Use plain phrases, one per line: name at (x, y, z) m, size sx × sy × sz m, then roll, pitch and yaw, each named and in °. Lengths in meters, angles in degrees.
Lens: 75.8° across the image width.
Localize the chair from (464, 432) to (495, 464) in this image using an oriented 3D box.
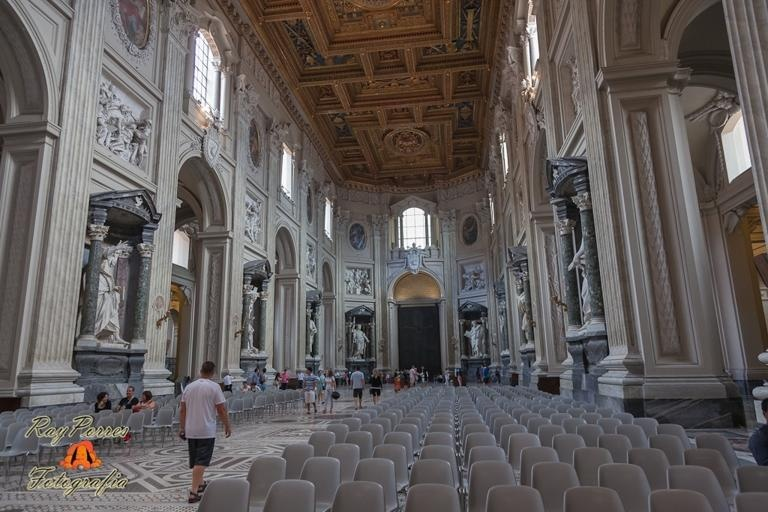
chair at (1.456, 2.875, 7.516) m, size 0.453 × 0.469 × 0.404 m, roll 3°, pitch -21°, yaw -2°

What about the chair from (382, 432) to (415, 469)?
chair at (0.232, 2.982, 7.671) m, size 0.476 × 0.513 × 0.413 m, roll 0°, pitch -17°, yaw 5°

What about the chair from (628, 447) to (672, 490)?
chair at (3.423, 2.682, 6.421) m, size 0.424 × 0.537 × 0.601 m, roll -1°, pitch 19°, yaw 10°

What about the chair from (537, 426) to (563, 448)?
chair at (2.562, 2.742, 7.653) m, size 0.267 × 0.315 × 0.365 m, roll -1°, pitch 4°, yaw 9°

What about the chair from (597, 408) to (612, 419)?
chair at (4.053, 2.891, 9.110) m, size 0.183 × 0.254 × 0.205 m, roll -3°, pitch -41°, yaw 9°

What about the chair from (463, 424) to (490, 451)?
chair at (1.487, 2.868, 8.027) m, size 0.401 × 0.553 × 0.469 m, roll 1°, pitch -40°, yaw 3°

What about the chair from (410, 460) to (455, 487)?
chair at (0.603, 2.729, 6.254) m, size 0.386 × 0.394 × 0.376 m, roll 0°, pitch -15°, yaw 12°

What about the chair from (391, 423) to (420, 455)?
chair at (0.368, 3.082, 8.361) m, size 0.465 × 0.561 × 0.452 m, roll 1°, pitch -18°, yaw 0°

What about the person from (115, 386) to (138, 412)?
person at (-6.452, 3.558, 12.342) m, size 0.496 × 0.744 × 0.433 m, roll -2°, pitch -26°, yaw -3°

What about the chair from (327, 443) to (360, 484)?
chair at (-0.534, 3.008, 7.303) m, size 0.498 × 0.581 × 0.468 m, roll 2°, pitch -15°, yaw 0°

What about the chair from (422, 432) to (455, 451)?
chair at (0.847, 2.829, 7.649) m, size 0.296 × 0.202 × 0.314 m, roll 2°, pitch -16°, yaw 6°

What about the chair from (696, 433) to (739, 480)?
chair at (4.555, 2.733, 6.842) m, size 0.423 × 0.528 × 0.590 m, roll -12°, pitch -11°, yaw 18°

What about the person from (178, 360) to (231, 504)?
person at (-2.721, 2.617, 7.512) m, size 0.712 × 2.008 × 1.084 m, roll -1°, pitch -7°, yaw -21°

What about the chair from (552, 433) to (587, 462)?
chair at (2.633, 2.731, 7.189) m, size 0.391 × 0.429 × 0.500 m, roll -2°, pitch -7°, yaw 10°

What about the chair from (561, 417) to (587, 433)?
chair at (3.122, 2.744, 8.126) m, size 0.243 × 0.270 × 0.328 m, roll -2°, pitch 23°, yaw 7°

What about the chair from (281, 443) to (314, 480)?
chair at (-1.180, 2.952, 7.138) m, size 0.387 × 0.545 × 0.463 m, roll 0°, pitch -32°, yaw 0°

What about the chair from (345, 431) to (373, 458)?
chair at (-0.397, 2.948, 7.820) m, size 0.318 × 0.429 × 0.371 m, roll 0°, pitch -39°, yaw 3°

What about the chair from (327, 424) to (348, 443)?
chair at (-0.803, 3.003, 8.454) m, size 0.250 × 0.337 × 0.291 m, roll -1°, pitch -55°, yaw 2°

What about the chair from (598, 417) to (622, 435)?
chair at (3.676, 2.742, 8.086) m, size 0.280 × 0.326 × 0.385 m, roll -4°, pitch 28°, yaw 10°

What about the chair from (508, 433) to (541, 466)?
chair at (2.053, 2.851, 7.427) m, size 0.455 × 0.475 × 0.412 m, roll 4°, pitch -16°, yaw -5°

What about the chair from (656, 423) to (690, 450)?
chair at (4.401, 2.668, 7.507) m, size 0.356 × 0.470 × 0.463 m, roll 5°, pitch 8°, yaw 25°

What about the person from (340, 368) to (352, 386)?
person at (-2.375, 7.800, 31.904) m, size 0.638 × 1.070 × 1.497 m, roll -1°, pitch -7°, yaw -18°

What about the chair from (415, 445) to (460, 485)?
chair at (0.732, 2.763, 6.915) m, size 0.640 × 0.661 × 0.570 m, roll 0°, pitch -18°, yaw 5°

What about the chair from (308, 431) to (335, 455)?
chair at (-1.001, 2.986, 7.948) m, size 0.323 × 0.450 × 0.379 m, roll 0°, pitch -26°, yaw 0°

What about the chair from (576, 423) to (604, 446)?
chair at (3.166, 2.727, 7.648) m, size 0.291 × 0.355 × 0.394 m, roll -7°, pitch -17°, yaw 19°

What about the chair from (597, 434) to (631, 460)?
chair at (3.281, 2.689, 7.049) m, size 0.341 × 0.393 × 0.458 m, roll -7°, pitch -19°, yaw 21°

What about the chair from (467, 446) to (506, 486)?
chair at (1.422, 2.878, 6.845) m, size 0.481 × 0.500 × 0.461 m, roll 3°, pitch -20°, yaw -3°

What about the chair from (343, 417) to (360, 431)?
chair at (-0.588, 3.027, 8.954) m, size 0.205 × 0.237 × 0.271 m, roll 0°, pitch 31°, yaw 4°

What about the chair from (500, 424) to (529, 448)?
chair at (2.095, 2.896, 8.074) m, size 0.393 × 0.415 × 0.355 m, roll 3°, pitch -26°, yaw -2°
